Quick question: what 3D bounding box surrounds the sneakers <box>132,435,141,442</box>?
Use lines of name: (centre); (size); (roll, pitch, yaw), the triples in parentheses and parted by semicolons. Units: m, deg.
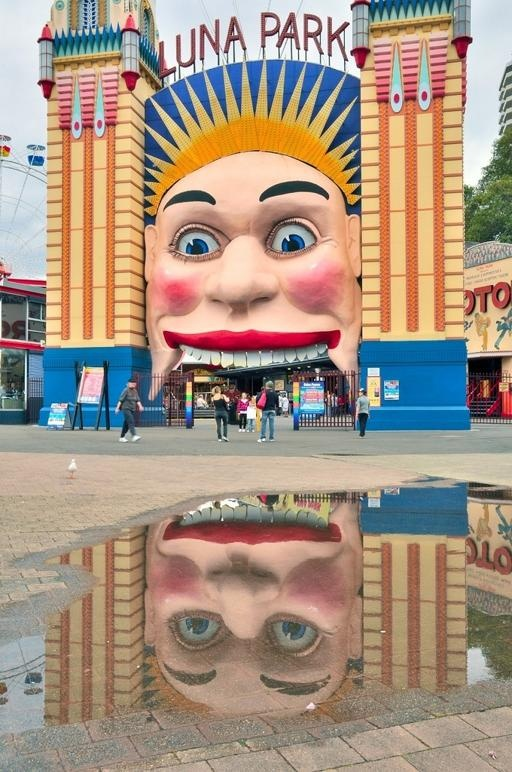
sneakers: (-2.721, 1.186, 19.836); (0.128, 0.152, 0.352); (-5, -9, -21)

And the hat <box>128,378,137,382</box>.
hat: (-3.285, -0.181, 23.023); (0.125, 0.108, 0.129); (9, 5, 5)
